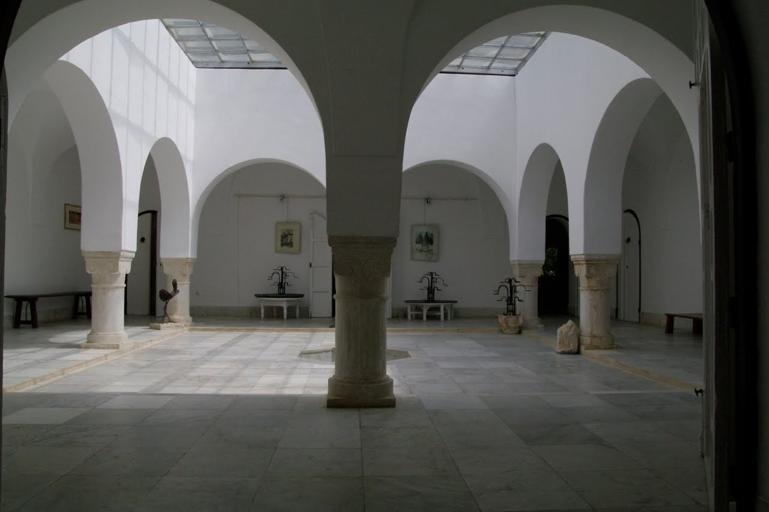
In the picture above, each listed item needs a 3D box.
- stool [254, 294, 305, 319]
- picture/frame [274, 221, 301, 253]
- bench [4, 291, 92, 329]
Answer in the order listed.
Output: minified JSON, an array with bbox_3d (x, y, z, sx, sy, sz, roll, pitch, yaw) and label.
[{"bbox_3d":[-3.342,1.490,17.404,1.125,0.595,0.959,-1,-4,12],"label":"stool"},{"bbox_3d":[-3.347,-0.590,18.235,0.997,1.306,0.179,0,-5,-4],"label":"picture/frame"},{"bbox_3d":[-9.491,1.474,15.056,1.036,0.865,3.162,0,0,-3],"label":"bench"}]
